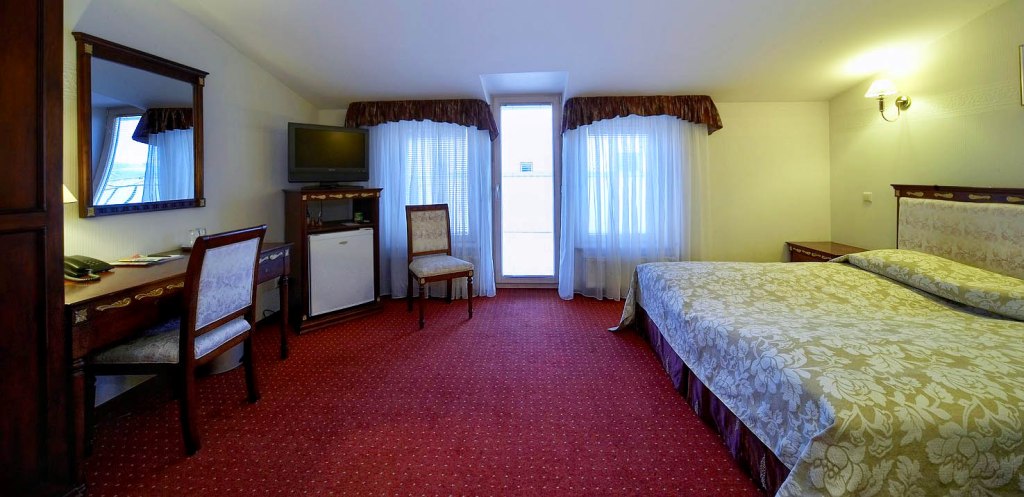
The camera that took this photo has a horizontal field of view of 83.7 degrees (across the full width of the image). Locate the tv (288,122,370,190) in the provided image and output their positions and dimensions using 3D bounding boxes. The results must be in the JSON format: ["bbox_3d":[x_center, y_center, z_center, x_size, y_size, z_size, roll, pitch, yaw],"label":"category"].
[{"bbox_3d":[-2.524,-1.257,7.788,1.117,0.692,0.114,-3,3,-33],"label":"tv"}]

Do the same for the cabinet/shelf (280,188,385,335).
[{"bbox_3d":[-2.432,0.067,7.788,1.184,1.824,0.825,-3,8,-25],"label":"cabinet/shelf"}]

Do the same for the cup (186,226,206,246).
[{"bbox_3d":[-3.527,-0.135,6.375,0.254,0.212,0.237,-1,-2,0],"label":"cup"}]

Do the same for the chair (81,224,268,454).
[{"bbox_3d":[-3.767,0.589,7.214,2.415,2.863,1.876,3,3,8],"label":"chair"}]

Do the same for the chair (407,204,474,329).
[{"bbox_3d":[-1.032,0.172,8.009,0.858,1.566,1.210,-1,7,-12],"label":"chair"}]
